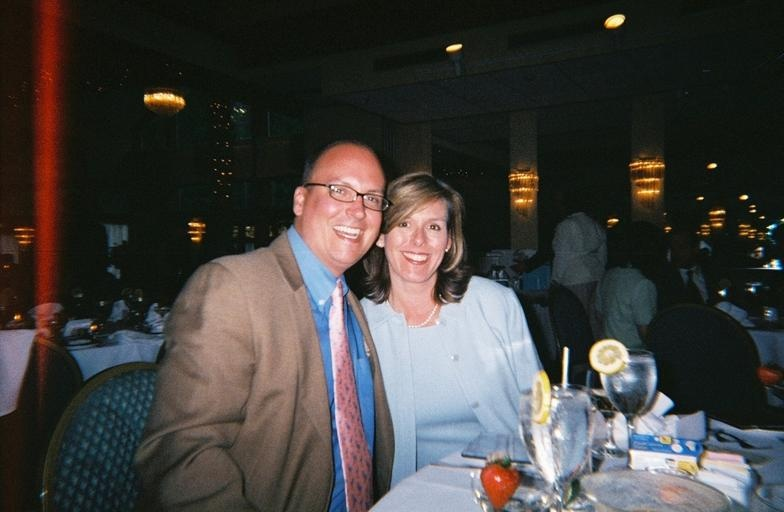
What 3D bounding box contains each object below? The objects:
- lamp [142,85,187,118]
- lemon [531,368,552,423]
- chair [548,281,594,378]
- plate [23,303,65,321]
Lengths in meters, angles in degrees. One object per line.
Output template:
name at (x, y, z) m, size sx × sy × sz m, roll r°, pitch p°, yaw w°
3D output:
lamp at (-3.978, -2.704, 10.355) m, size 0.555 × 0.378 × 0.505 m, roll 5°, pitch 13°, yaw 1°
lemon at (1.076, 1.037, 4.285) m, size 0.144 × 0.367 × 0.134 m, roll 0°, pitch 2°, yaw 8°
chair at (2.060, 0.917, 6.716) m, size 0.604 × 1.123 × 0.384 m, roll 0°, pitch 2°, yaw -20°
plate at (-3.909, 0.637, 6.661) m, size 0.392 × 0.182 × 0.296 m, roll 1°, pitch 1°, yaw 29°
